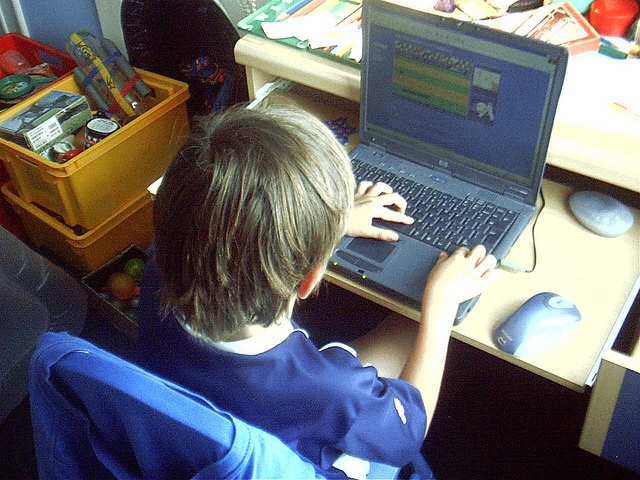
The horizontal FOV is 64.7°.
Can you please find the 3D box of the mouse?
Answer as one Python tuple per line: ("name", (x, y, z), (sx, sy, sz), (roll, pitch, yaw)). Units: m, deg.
("mouse", (0.403, 0.160, 0.942), (0.156, 0.054, 0.091), (-38, 63, -12))
